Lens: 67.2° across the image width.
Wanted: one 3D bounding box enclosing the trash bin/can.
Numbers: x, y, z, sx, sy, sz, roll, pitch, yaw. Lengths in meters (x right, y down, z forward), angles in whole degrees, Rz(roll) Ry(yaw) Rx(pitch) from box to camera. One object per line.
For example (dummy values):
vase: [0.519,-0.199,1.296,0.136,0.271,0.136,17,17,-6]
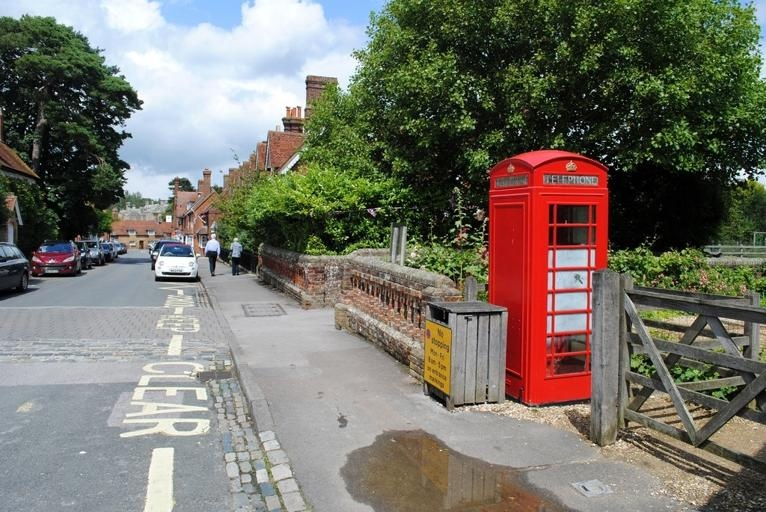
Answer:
trash bin/can: [1.342,1.602,9.863,1.462,2.125,1.598,3,-4,-19]
